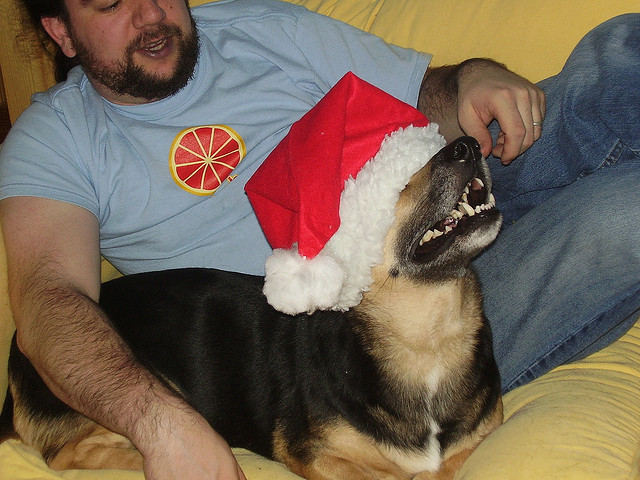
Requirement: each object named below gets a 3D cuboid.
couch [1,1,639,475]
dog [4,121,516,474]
[{"bbox_3d":[-0.173,-0.384,3.349,3.024,1.648,2.015,-5,56,43],"label":"couch"},{"bbox_3d":[-0.308,0.377,2.754,1.748,1.236,1.292,12,20,33],"label":"dog"}]
